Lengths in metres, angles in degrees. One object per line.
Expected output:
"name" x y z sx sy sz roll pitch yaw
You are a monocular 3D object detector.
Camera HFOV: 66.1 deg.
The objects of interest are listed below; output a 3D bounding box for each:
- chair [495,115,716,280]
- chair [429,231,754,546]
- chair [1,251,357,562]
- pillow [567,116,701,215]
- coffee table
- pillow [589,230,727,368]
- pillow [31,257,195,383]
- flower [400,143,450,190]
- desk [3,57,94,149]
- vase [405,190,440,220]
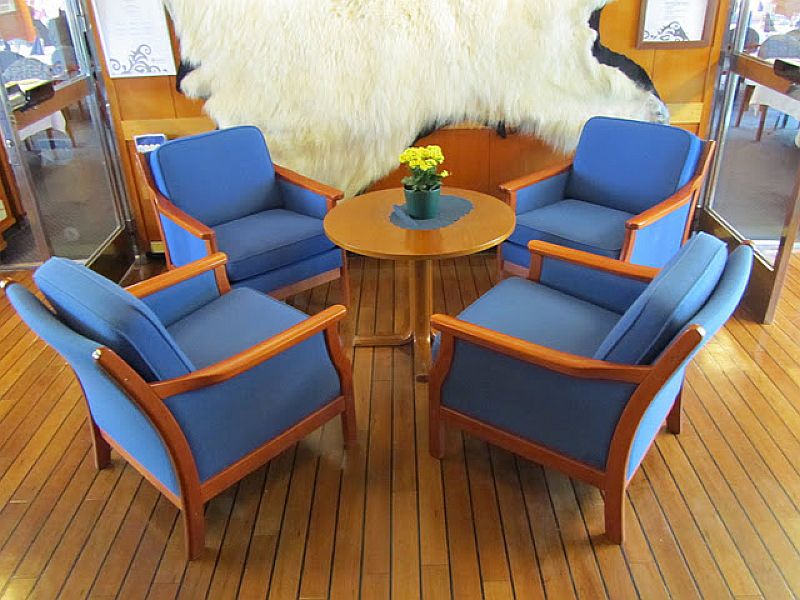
"chair" 1.173 -0.530 3.946 0.969 1.201 1.101 28 45 35
"chair" 0.832 0.219 2.827 1.276 1.140 1.052 8 35 21
"chair" -0.892 0.225 3.052 1.149 1.419 1.510 24 34 26
"pillow" 1.416 -0.799 3.750 0.743 0.778 0.191 18 8 22
"coffee table" 0.101 -0.036 3.562 0.993 0.966 1.056 -3 39 -2
"pillow" 1.023 0.008 2.344 0.516 0.417 0.249 -23 36 -31
"pillow" -1.117 0.079 2.358 0.546 0.419 0.220 14 34 26
"flower" 0.125 -0.695 3.219 0.234 0.213 0.152 1 30 6
"desk" -2.165 -1.294 3.751 0.390 0.477 0.386 46 61 6
"vase" 0.111 -0.505 3.235 0.145 0.125 0.162 -2 31 -1
